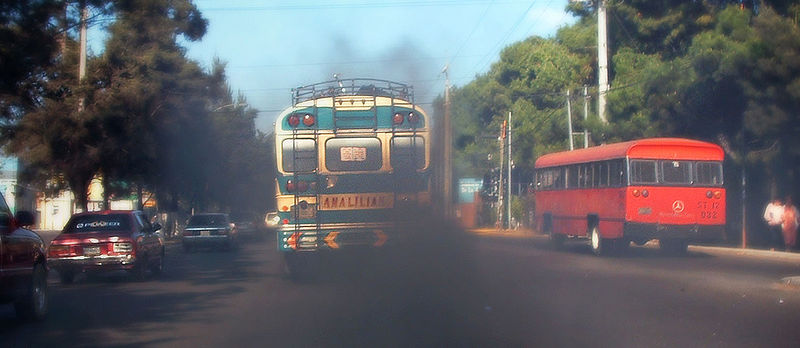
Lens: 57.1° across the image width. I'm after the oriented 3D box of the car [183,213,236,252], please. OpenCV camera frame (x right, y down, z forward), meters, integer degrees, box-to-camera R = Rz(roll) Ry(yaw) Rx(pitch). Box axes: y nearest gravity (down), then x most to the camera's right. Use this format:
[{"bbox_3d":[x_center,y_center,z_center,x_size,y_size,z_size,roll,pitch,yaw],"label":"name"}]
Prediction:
[{"bbox_3d":[-14.679,4.269,56.087,2.960,2.247,6.954,0,-1,-13],"label":"car"}]
